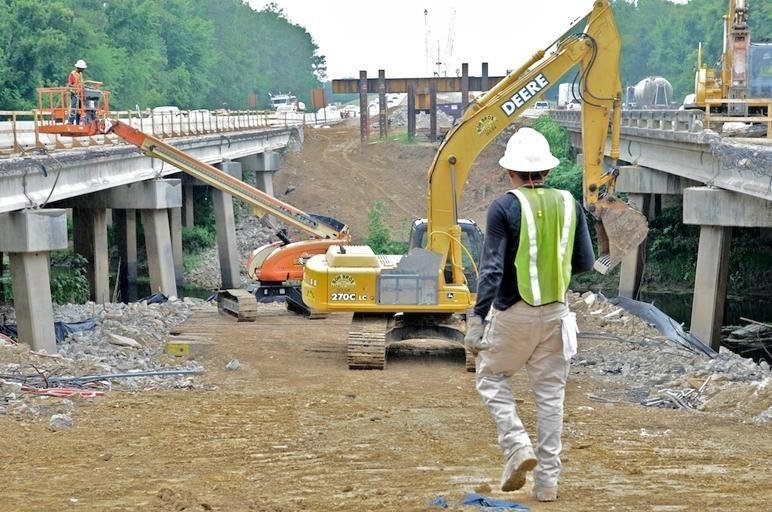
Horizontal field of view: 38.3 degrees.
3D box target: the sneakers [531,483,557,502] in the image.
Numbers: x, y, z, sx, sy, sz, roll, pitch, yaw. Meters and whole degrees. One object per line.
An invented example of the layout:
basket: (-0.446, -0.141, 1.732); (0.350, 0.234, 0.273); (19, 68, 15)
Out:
sneakers: (2.567, 3.824, 18.073); (0.206, 0.252, 0.375); (1, 6, -2)
